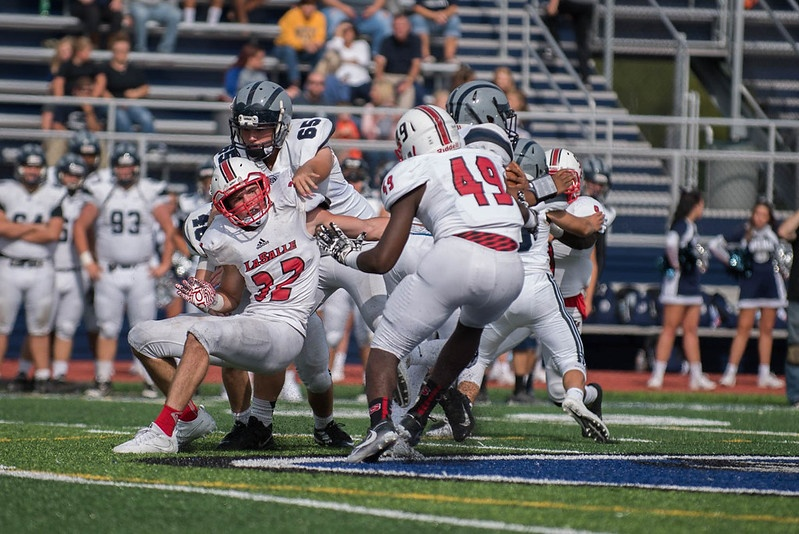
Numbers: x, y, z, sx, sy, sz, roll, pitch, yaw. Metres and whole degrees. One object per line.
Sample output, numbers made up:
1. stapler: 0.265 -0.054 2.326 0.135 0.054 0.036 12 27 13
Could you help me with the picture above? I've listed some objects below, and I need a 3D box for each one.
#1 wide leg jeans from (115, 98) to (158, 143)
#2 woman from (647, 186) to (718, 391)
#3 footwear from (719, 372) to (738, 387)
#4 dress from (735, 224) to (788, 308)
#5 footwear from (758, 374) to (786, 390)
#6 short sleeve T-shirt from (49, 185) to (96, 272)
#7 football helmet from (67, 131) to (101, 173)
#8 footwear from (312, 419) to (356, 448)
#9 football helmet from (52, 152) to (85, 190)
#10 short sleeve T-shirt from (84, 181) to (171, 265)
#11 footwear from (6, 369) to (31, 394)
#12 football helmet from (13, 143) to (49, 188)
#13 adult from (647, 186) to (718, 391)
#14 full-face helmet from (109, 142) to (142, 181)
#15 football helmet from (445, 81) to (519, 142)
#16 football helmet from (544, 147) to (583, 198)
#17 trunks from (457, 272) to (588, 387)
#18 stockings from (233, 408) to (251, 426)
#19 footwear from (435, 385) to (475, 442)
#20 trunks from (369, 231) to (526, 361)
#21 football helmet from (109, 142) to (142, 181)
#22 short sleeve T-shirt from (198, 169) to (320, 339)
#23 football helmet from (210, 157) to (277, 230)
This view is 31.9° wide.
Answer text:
1. wide leg jeans: -3.239 -1.791 17.213 0.649 0.638 0.263 5 -6 -18
2. woman: 3.394 0.262 16.659 0.863 2.402 0.812 3 -3 -43
3. footwear: 3.910 1.342 16.848 0.137 0.261 0.399 -4 -3 26
4. dress: 4.300 -0.005 16.798 0.629 1.019 0.300 -20 -20 23
5. footwear: 4.527 1.395 17.170 0.387 0.270 0.152 -3 11 -1
6. short sleeve T-shirt: -3.543 -0.377 15.040 0.557 0.770 0.284 5 2 18
7. football helmet: -3.426 -1.303 15.430 0.327 0.425 0.435 -6 16 -11
8. footwear: -0.561 1.423 11.955 0.359 0.176 0.173 5 6 26
9. football helmet: -3.525 -1.032 14.982 0.308 0.367 0.375 32 -8 -23
10. short sleeve T-shirt: -2.959 -0.484 15.070 0.908 0.893 0.485 1 -1 -20
11. footwear: -4.099 1.253 15.137 0.140 0.161 0.383 1 1 -29
12. football helmet: -3.926 -1.086 14.848 0.321 0.459 0.449 1 11 -37
13. adult: 3.365 0.266 16.667 0.903 2.373 0.781 2 -1 -42
14. full-face helmet: -2.919 -1.111 14.985 0.295 0.352 0.412 -1 -3 -12
15. football helmet: 0.774 -1.382 12.406 0.588 0.521 0.444 -7 9 -13
16. football helmet: 1.461 -0.869 13.124 0.383 0.498 0.495 3 11 15
17. trunks: 1.213 0.545 12.497 0.844 0.462 1.192 5 22 -1
18. stockings: -1.306 1.266 11.754 0.118 0.086 0.117 -8 -3 -10
19. footwear: 0.498 1.225 11.838 0.231 0.543 0.201 -30 14 -16
20. trunks: 0.345 0.199 11.329 0.673 1.161 0.531 24 23 -42
21. football helmet: -2.926 -1.110 15.018 0.295 0.352 0.412 -1 -3 -12
22. short sleeve T-shirt: -1.025 -0.168 11.559 0.988 1.211 0.517 -8 16 9
23. football helmet: -1.250 -0.556 11.393 0.540 0.567 0.656 -19 -2 0
